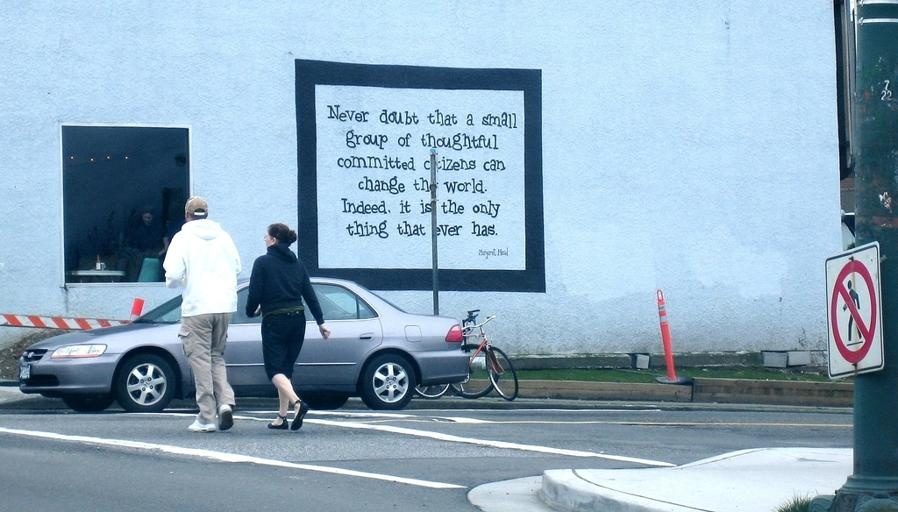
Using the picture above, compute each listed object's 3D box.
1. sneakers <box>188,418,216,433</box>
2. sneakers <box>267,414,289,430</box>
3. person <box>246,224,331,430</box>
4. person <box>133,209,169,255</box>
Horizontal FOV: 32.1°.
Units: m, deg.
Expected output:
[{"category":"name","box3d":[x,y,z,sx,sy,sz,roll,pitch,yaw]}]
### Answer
[{"category":"sneakers","box3d":[-4.267,2.942,27.096,0.521,0.226,0.204,2,2,17]},{"category":"sneakers","box3d":[-2.979,2.937,27.536,0.394,0.258,0.205,2,-1,7]},{"category":"person","box3d":[-2.894,1.245,27.423,1.280,3.592,0.571,-1,-4,-10]},{"category":"person","box3d":[-6.508,-0.485,33.884,0.782,0.935,0.307,-3,5,-16]}]
